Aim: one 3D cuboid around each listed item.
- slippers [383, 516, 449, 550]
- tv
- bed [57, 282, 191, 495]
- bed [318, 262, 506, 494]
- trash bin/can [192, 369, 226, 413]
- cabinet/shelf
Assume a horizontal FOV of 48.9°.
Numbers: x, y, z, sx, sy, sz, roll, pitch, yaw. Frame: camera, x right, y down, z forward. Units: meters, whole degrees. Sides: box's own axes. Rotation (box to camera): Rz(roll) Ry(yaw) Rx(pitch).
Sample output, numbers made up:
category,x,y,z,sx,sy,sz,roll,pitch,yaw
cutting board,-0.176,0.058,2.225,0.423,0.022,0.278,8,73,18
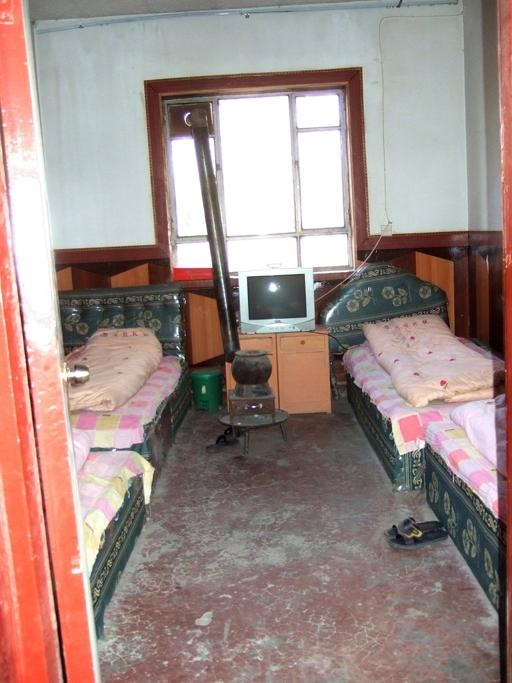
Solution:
category,x,y,z,sx,sy,sz,roll,pitch,yaw
slippers,0.660,0.790,2.309,0.163,0.047,0.113,-6,-2,-5
tv,0.167,-0.252,4.652,0.812,0.682,0.463,-1,-2,3
bed,-1.033,0.315,4.452,1.048,0.941,1.274,-1,38,0
bed,1.168,0.097,4.127,1.075,1.079,1.667,-10,17,-1
trash bin/can,-0.459,0.397,4.693,0.345,0.329,0.268,-5,14,-12
cabinet/shelf,0.124,0.228,4.630,1.140,0.996,0.594,-2,4,-2
